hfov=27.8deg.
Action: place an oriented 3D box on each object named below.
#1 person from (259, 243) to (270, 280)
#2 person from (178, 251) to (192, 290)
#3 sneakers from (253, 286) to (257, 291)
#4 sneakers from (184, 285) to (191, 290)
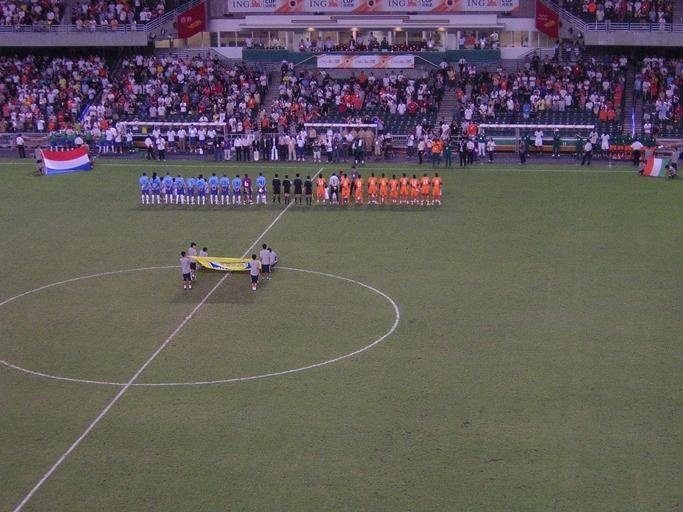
[{"bbox_3d":[-3.871,0.146,69.210,0.551,1.886,1.161,0,17,7],"label":"person"},{"bbox_3d":[-7.751,0.593,68.689,0.530,1.766,1.588,-4,18,-7],"label":"person"},{"bbox_3d":[-4.316,1.587,68.153,0.178,0.155,0.332,0,-5,-5],"label":"sneakers"},{"bbox_3d":[-7.666,1.544,68.309,0.200,0.167,0.526,3,0,-1],"label":"sneakers"}]
